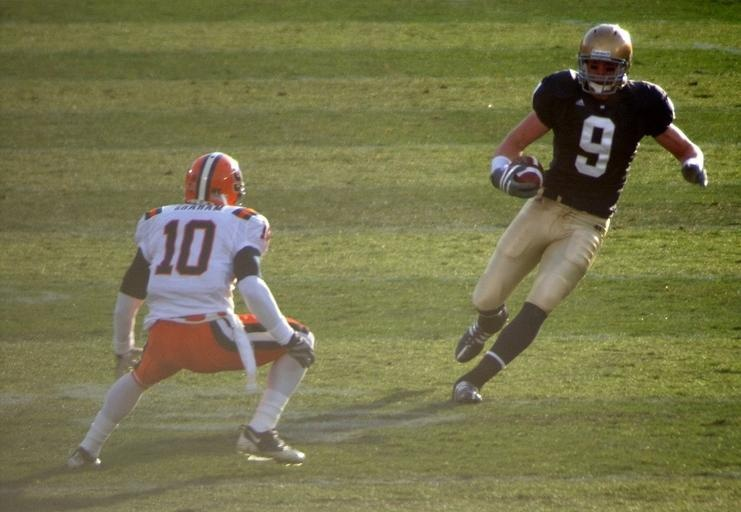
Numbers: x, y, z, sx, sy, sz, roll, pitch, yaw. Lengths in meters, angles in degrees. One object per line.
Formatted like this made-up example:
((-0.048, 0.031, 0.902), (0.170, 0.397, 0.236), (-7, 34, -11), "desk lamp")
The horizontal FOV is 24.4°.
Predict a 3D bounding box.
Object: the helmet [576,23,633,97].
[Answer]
((2.114, -1.771, 15.203), (0.561, 0.471, 0.607), (4, 21, 5), "helmet")

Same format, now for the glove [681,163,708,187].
((2.852, -0.706, 14.994), (0.241, 0.194, 0.181), (13, 14, 5), "glove")

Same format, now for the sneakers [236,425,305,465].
((-0.792, 1.602, 14.566), (0.701, 0.231, 0.233), (7, 7, 32), "sneakers")

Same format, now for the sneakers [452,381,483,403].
((0.846, 1.212, 15.083), (0.251, 0.091, 0.187), (22, -2, -37), "sneakers")

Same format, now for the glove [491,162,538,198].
((1.302, -0.657, 14.997), (0.313, 0.157, 0.397), (-10, 18, -43), "glove")

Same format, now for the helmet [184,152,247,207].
((-1.331, -0.649, 14.908), (0.576, 0.406, 0.375), (0, 3, -1), "helmet")

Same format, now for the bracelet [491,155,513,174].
((1.156, -0.805, 15.166), (0.196, 0.124, 0.147), (20, -5, 18), "bracelet")

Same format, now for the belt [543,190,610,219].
((1.887, -0.462, 15.141), (0.425, 0.169, 0.280), (18, 19, -2), "belt")

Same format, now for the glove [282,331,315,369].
((-0.569, 0.802, 14.621), (0.329, 0.254, 0.147), (45, 11, -12), "glove")

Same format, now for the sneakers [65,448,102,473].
((-2.427, 1.738, 14.543), (0.313, 0.152, 0.160), (-2, 19, -14), "sneakers")
